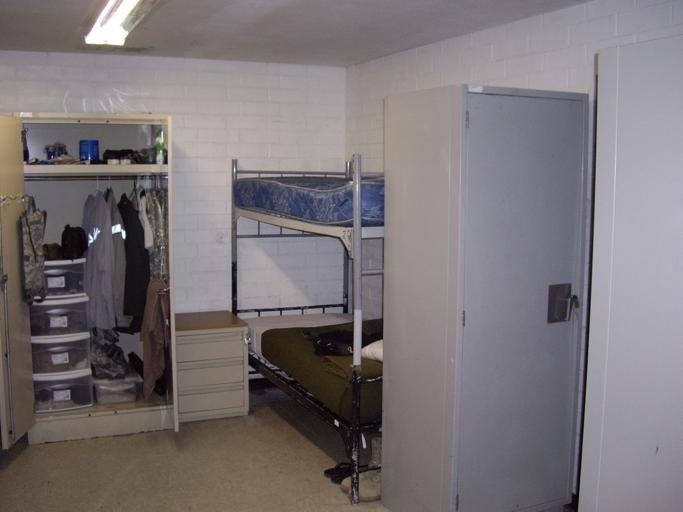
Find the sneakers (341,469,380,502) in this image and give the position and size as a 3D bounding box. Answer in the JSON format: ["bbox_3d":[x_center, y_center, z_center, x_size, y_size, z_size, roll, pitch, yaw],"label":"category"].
[{"bbox_3d":[0.140,1.529,4.012,0.267,0.098,0.393,0,8,3],"label":"sneakers"}]

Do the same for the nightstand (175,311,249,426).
[{"bbox_3d":[-1.159,1.039,5.319,0.839,0.793,0.905,-4,1,-34],"label":"nightstand"}]

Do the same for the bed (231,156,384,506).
[{"bbox_3d":[-0.039,0.321,4.830,0.991,2.281,2.630,-4,7,-27],"label":"bed"}]

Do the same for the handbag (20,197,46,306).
[{"bbox_3d":[-2.333,-0.048,4.421,0.188,0.795,0.123,-8,11,-44],"label":"handbag"}]

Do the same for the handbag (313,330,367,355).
[{"bbox_3d":[-0.007,0.647,4.348,0.217,0.060,0.222,-1,6,-26],"label":"handbag"}]

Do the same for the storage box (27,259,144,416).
[{"bbox_3d":[-2.404,0.675,5.382,0.914,1.640,1.612,-3,7,-29],"label":"storage box"}]
